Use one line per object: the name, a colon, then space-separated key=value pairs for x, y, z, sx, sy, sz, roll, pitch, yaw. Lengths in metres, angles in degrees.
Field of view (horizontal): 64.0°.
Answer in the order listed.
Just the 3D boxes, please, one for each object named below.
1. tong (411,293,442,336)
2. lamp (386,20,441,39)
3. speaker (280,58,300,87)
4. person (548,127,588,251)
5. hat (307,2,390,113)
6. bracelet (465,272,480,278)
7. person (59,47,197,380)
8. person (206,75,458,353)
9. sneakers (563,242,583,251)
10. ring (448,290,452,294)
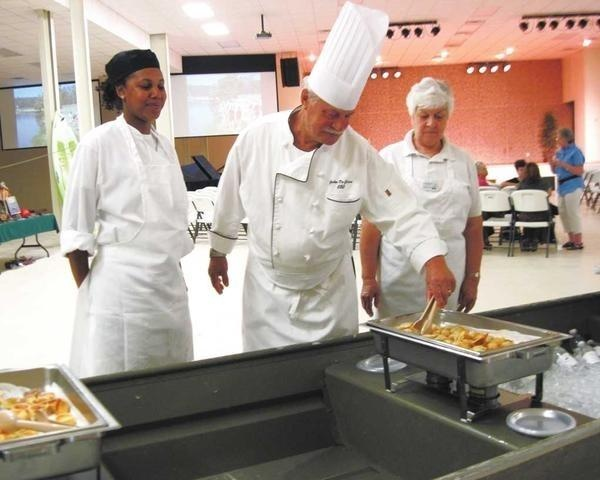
tong: x=0.343 y=0.193 z=1.271 sx=0.042 sy=0.052 sz=0.175 roll=14 pitch=23 yaw=22
lamp: x=2.524 y=-4.533 z=10.552 sx=1.143 sy=0.311 sz=1.238 roll=0 pitch=7 yaw=12
speaker: x=-0.235 y=-4.033 z=11.509 sx=0.484 sy=0.660 sz=0.160 roll=-2 pitch=8 yaw=9
person: x=4.000 y=-0.779 z=7.221 sx=0.548 sy=1.776 sz=0.587 roll=-4 pitch=6 yaw=7
hat: x=0.142 y=-0.581 z=1.507 sx=0.258 sy=0.367 sz=0.200 roll=-3 pitch=8 yaw=-10
bracelet: x=0.773 y=0.154 z=2.121 sx=0.037 sy=0.022 sz=0.029 roll=1 pitch=3 yaw=30
person: x=-0.624 y=-0.110 z=1.745 sx=0.463 sy=1.179 sz=0.322 roll=-7 pitch=9 yaw=-33
person: x=0.075 y=-0.041 z=1.685 sx=0.953 sy=0.916 sz=0.340 roll=3 pitch=9 yaw=31
sneakers: x=4.003 y=0.088 z=7.004 sx=0.300 sy=0.128 sz=0.115 roll=0 pitch=8 yaw=20
ring: x=0.447 y=0.154 z=1.425 sx=0.009 sy=0.004 sz=0.012 roll=-3 pitch=8 yaw=5
